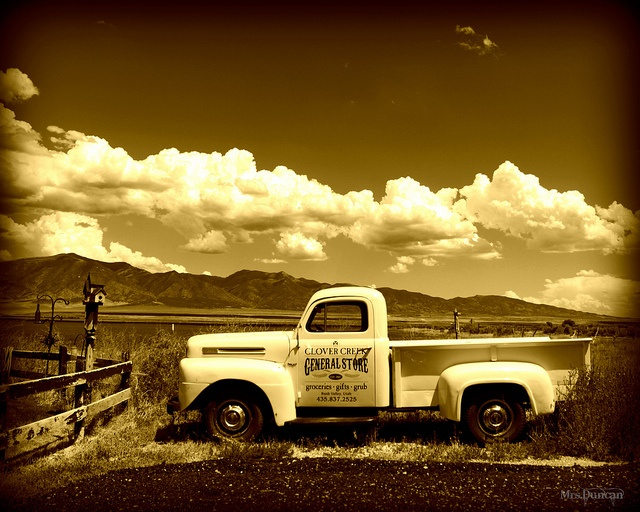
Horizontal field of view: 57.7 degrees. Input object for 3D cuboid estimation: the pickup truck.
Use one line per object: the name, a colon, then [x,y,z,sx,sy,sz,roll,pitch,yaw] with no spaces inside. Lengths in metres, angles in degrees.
pickup truck: [0.984,2.184,11.139,7.171,2.765,3.123,1,-11,3]
